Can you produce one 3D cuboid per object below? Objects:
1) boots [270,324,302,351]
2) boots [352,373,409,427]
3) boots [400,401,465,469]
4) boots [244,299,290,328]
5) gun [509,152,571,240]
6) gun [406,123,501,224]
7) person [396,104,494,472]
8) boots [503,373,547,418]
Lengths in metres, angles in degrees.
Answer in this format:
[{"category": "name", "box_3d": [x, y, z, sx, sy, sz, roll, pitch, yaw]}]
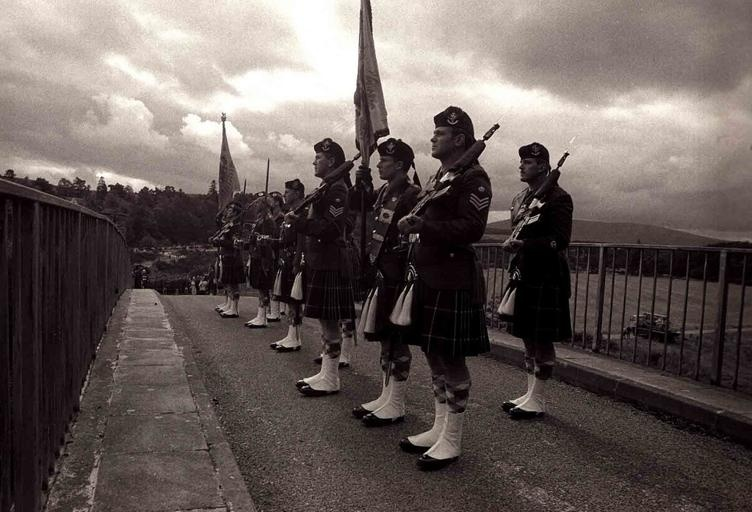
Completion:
[{"category": "boots", "box_3d": [-1.320, 1.196, 7.812, 0.482, 0.472, 0.282, 6, -7, -28]}, {"category": "boots", "box_3d": [0.088, 1.361, 5.002, 0.590, 0.576, 0.294, 8, -11, -19]}, {"category": "boots", "box_3d": [0.494, 1.465, 4.343, 0.700, 0.492, 0.282, 10, -10, -40]}, {"category": "boots", "box_3d": [-2.106, 1.136, 10.076, 0.273, 0.362, 0.835, -3, -9, 17]}, {"category": "gun", "box_3d": [1.582, -0.520, 5.119, 0.118, 1.084, 0.403, 33, -11, -24]}, {"category": "gun", "box_3d": [0.611, -0.599, 4.170, 0.325, 1.258, 0.121, 25, -17, 48]}, {"category": "person", "box_3d": [0.554, 0.200, 4.347, 0.741, 2.850, 0.764, 2, 6, 11]}, {"category": "boots", "box_3d": [1.445, 1.342, 5.219, 0.400, 0.359, 0.327, 0, 6, -6]}]
